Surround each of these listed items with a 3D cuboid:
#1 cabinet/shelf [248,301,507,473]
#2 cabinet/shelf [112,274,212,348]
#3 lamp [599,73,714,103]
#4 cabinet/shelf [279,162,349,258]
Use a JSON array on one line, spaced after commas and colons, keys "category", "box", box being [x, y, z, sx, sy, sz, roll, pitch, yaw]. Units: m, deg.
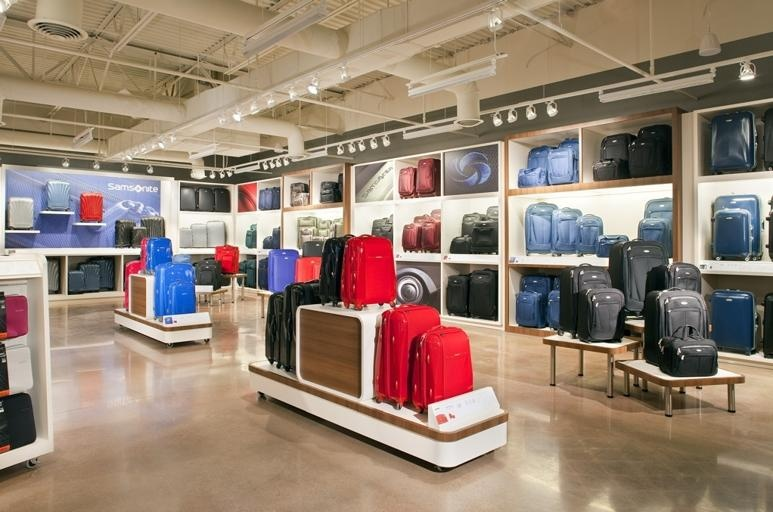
[{"category": "cabinet/shelf", "box": [-0.248, 1.307, 6.092, 3.231, 1.363, 1.280, 4, 3, 41]}, {"category": "cabinet/shelf", "box": [-4.058, 0.971, 9.307, 2.276, 1.148, 0.707, 10, 15, 42]}, {"category": "lamp", "box": [4.175, -2.550, 7.957, 1.577, 0.372, 1.671, 5, 13, 27]}, {"category": "cabinet/shelf", "box": [-1.750, -1.095, 12.646, 0.742, 2.373, 2.533, 2, -3, -38]}]
